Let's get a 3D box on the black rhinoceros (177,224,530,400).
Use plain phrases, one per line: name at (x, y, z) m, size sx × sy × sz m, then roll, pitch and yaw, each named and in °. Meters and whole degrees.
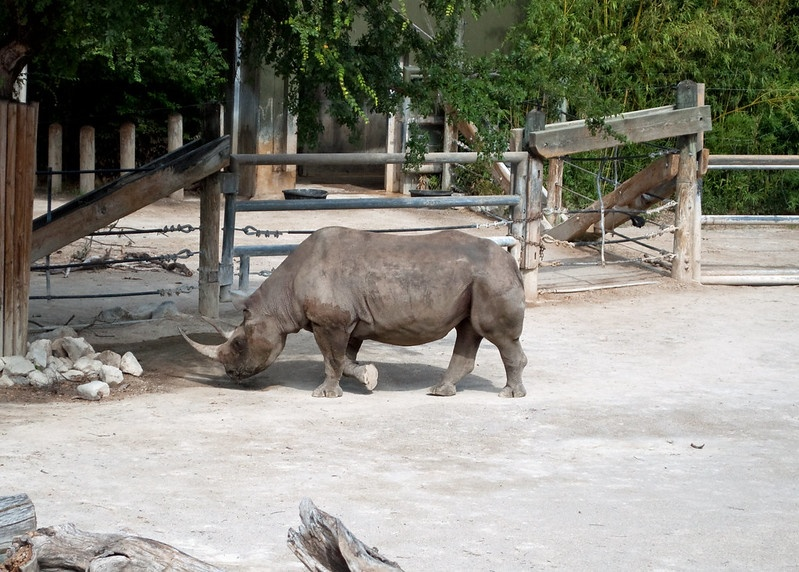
black rhinoceros at (-0.329, 0.284, 9.494) m, size 2.972 × 1.469 × 0.984 m, roll -1°, pitch 3°, yaw 0°
